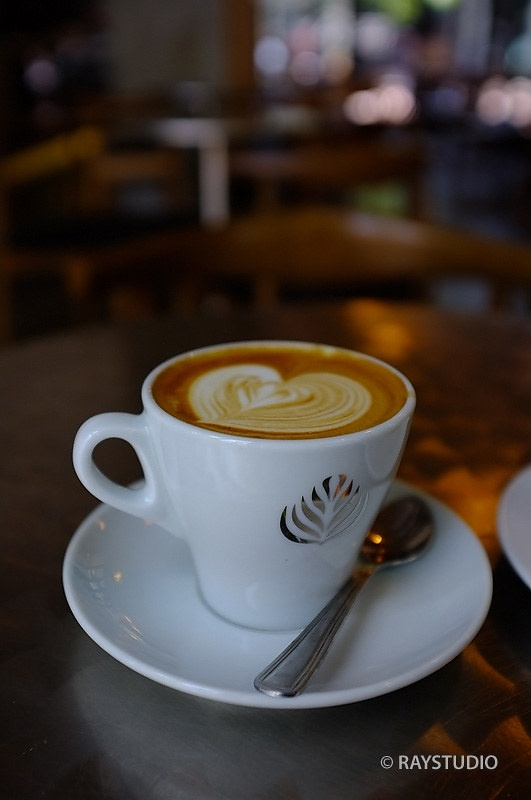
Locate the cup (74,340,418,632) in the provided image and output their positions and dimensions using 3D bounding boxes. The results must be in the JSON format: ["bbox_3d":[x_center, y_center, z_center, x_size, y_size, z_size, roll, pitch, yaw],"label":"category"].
[{"bbox_3d":[-0.009,0.043,0.342,0.159,0.106,0.120,-1,22,8],"label":"cup"}]

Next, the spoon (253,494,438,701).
[{"bbox_3d":[0.039,0.083,0.311,0.027,0.014,0.129,18,37,30],"label":"spoon"}]
